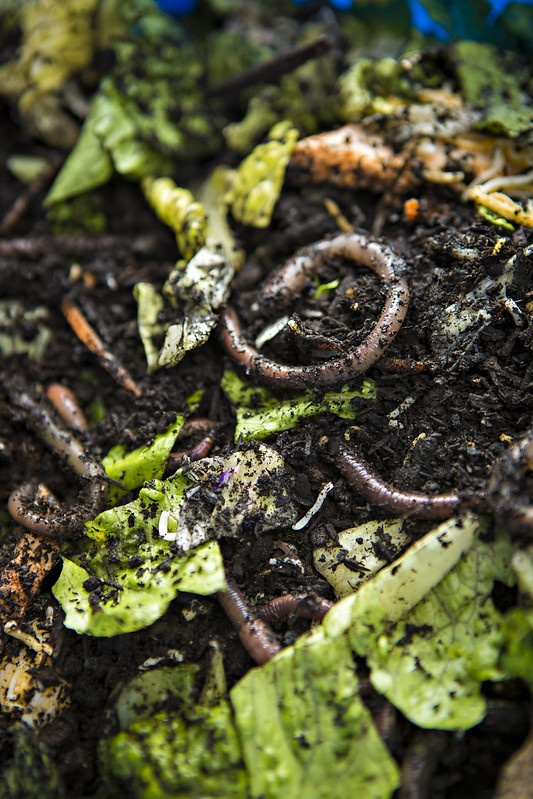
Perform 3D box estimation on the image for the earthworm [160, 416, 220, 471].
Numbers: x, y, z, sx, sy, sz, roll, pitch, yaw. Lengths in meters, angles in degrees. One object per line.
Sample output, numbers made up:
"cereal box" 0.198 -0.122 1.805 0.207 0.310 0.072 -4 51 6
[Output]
"earthworm" -0.438 0.271 4.632 0.334 0.081 0.241 -34 50 -23
